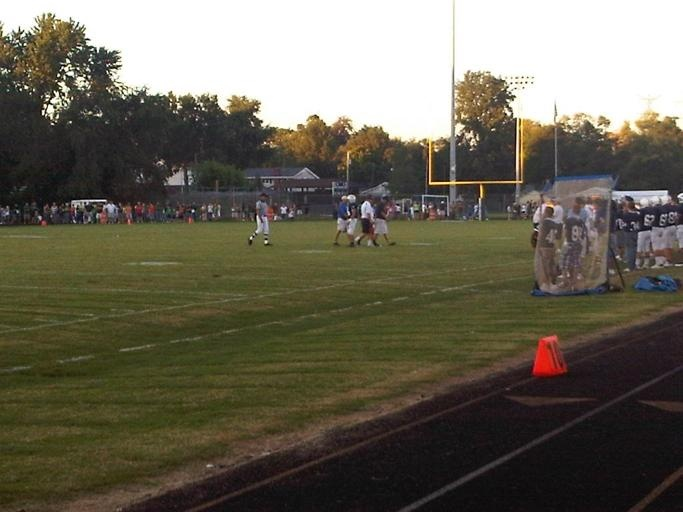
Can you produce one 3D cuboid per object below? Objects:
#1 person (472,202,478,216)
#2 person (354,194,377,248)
[{"bbox_3d":[8.218,-2.666,66.493,0.249,0.688,1.083,3,15,16],"label":"person"},{"bbox_3d":[0.762,-0.978,33.032,0.652,1.603,1.570,-1,15,1],"label":"person"}]
